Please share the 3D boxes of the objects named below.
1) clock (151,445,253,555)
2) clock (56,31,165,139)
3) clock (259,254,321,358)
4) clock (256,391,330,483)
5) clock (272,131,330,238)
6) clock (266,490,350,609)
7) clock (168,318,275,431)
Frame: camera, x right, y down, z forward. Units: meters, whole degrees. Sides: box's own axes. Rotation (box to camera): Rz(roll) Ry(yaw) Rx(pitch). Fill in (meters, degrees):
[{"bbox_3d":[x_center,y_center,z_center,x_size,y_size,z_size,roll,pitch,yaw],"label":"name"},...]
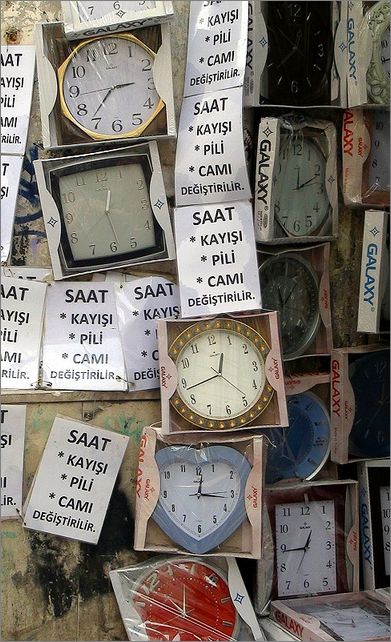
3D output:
[{"bbox_3d":[0.025,0.763,2.562,0.436,0.054,0.461,-1,81,-1],"label":"clock"},{"bbox_3d":[-0.371,-1.045,2.652,0.467,0.043,0.505,-6,81,5],"label":"clock"},{"bbox_3d":[0.436,-0.077,2.851,0.443,0.051,0.536,-6,91,-35],"label":"clock"},{"bbox_3d":[0.505,0.578,2.964,0.327,0.275,0.384,-2,58,4],"label":"clock"},{"bbox_3d":[0.514,-0.635,2.837,0.262,0.314,0.424,6,59,9],"label":"clock"},{"bbox_3d":[0.518,1.114,2.872,0.494,0.064,0.609,1,80,-16],"label":"clock"},{"bbox_3d":[0.117,0.233,2.527,0.436,0.034,0.464,-2,88,1],"label":"clock"}]
